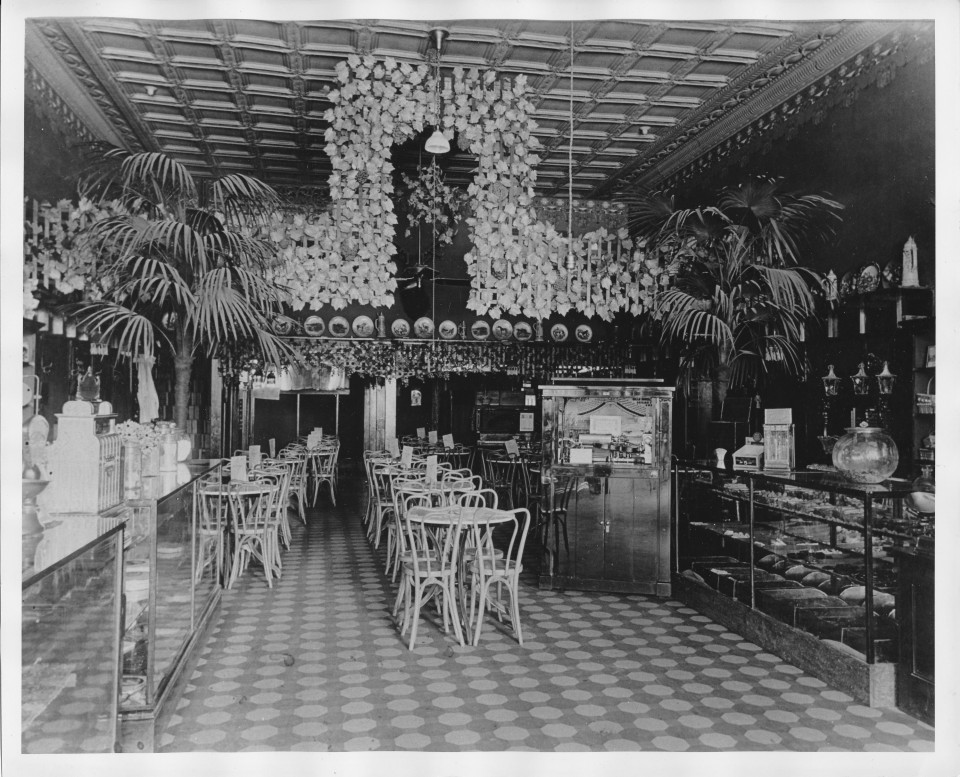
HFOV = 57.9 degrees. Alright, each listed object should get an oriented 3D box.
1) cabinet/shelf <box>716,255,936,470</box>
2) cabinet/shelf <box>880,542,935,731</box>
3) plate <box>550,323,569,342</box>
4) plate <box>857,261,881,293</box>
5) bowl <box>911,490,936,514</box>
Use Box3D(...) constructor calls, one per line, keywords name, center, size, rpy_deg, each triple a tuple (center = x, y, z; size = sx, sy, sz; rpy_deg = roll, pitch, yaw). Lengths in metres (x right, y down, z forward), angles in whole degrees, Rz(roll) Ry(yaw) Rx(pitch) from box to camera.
Box3D(name="cabinet/shelf", center=(3.013, -0.225, 7.417), size=(0.605, 1.998, 2.002), rpy_deg=(0, 0, -10))
Box3D(name="cabinet/shelf", center=(2.765, 1.554, 5.516), size=(0.280, 1.103, 0.188), rpy_deg=(-2, -2, 42))
Box3D(name="plate", center=(1.059, -0.726, 11.586), size=(0.251, 0.254, 0.048), rpy_deg=(0, -1, -20))
Box3D(name="plate", center=(3.201, -0.892, 7.126), size=(0.040, 0.185, 0.173), rpy_deg=(3, -2, -5))
Box3D(name="bowl", center=(2.960, 0.771, 5.798), size=(0.143, 0.150, 0.180), rpy_deg=(-2, -2, 32))
